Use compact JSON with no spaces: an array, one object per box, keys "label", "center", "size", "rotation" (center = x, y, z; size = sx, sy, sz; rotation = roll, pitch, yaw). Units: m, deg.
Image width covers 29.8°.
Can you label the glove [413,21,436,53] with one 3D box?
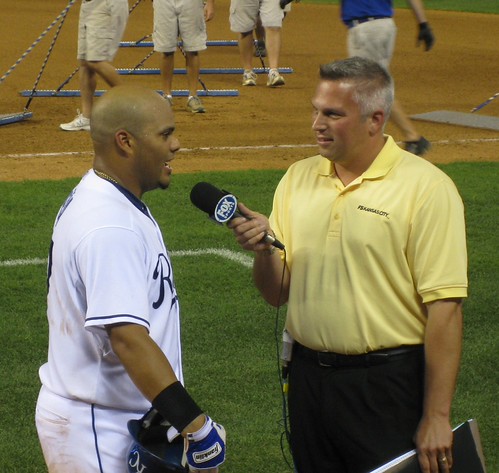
[{"label":"glove","center":[1.570,-1.734,8.314],"size":[0.159,0.311,0.092],"rotation":[4,27,13]}]

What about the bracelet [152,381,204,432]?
[{"label":"bracelet","center":[-0.322,0.762,4.209],"size":[0.222,0.222,0.075],"rotation":[-5,19,-6]}]
